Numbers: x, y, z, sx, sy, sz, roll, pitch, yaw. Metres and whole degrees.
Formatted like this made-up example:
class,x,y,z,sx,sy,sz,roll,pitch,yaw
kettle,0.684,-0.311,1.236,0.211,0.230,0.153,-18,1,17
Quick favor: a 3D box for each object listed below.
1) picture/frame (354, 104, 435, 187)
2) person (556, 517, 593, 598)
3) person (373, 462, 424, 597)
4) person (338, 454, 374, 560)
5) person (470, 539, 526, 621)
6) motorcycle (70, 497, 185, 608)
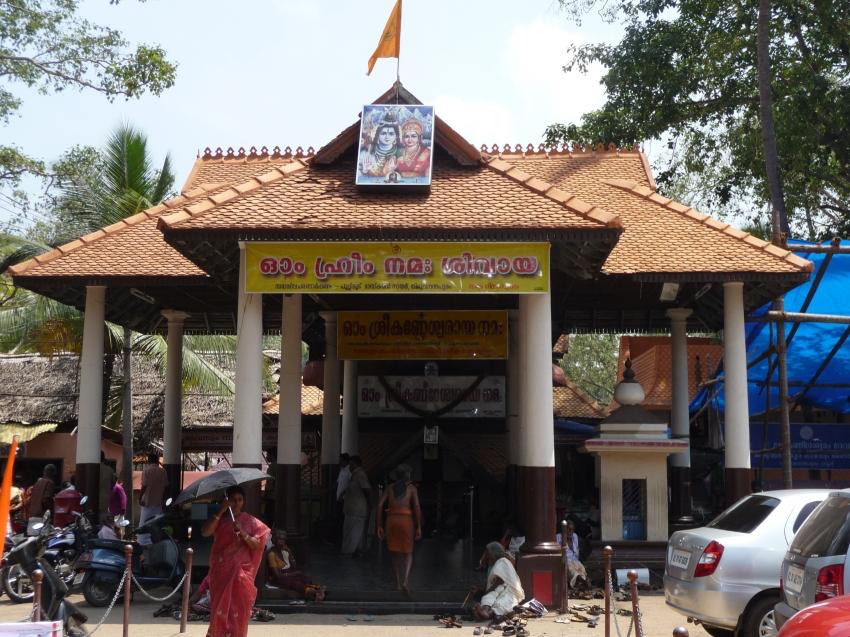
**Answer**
class,x,y,z,sx,sy,sz,roll,pitch,yaw
picture/frame,-0.606,-3.591,20.136,1.499,1.632,0.172,2,1,3
person,3.009,4.855,19.508,0.513,1.340,0.734,1,-1,-21
person,-0.456,3.979,18.700,0.812,2.115,0.976,0,-3,0
person,-1.508,4.130,21.042,0.670,1.901,0.916,1,2,-8
person,1.371,4.690,17.332,0.895,1.134,1.022,2,2,1
motorcycle,-5.763,4.624,18.370,1.097,1.621,2.445,-12,-13,42
